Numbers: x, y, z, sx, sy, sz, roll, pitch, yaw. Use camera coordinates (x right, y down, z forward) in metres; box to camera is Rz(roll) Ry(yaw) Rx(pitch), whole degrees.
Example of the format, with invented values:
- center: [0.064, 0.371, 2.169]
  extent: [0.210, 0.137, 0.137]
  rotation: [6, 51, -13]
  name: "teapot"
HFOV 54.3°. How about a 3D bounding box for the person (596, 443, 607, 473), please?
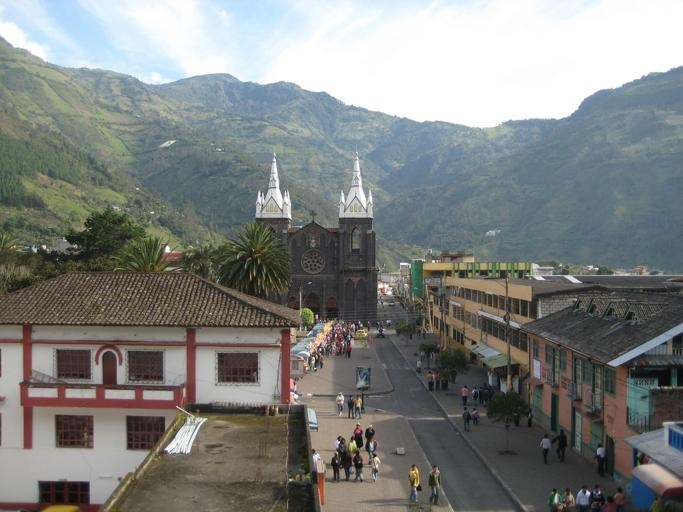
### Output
- center: [16.038, 12.574, 40.936]
  extent: [0.507, 1.825, 0.804]
  rotation: [-1, -4, 21]
  name: "person"
